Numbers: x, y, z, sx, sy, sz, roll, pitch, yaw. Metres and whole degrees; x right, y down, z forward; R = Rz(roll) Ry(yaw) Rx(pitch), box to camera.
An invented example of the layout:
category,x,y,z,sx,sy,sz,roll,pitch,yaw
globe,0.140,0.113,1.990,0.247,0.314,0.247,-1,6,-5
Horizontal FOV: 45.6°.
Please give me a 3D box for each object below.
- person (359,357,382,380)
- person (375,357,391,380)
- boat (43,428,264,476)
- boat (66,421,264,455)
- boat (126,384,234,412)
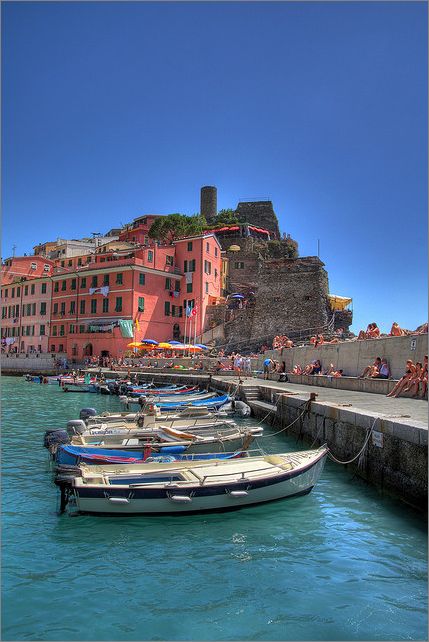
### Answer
category,x,y,z,sx,sy,sz,roll,pitch,yaw
person,6.196,1.879,19.975,0.935,0.503,1.128,8,-44,10
person,6.382,1.820,19.112,0.634,0.986,0.642,6,-5,10
boat,-1.566,3.205,12.421,4.369,1.008,1.057,2,-7,-22
boat,-1.519,3.273,14.242,4.187,0.841,1.431,1,-4,-12
boat,-1.778,4.072,26.938,5.564,1.583,1.944,2,-1,-1
